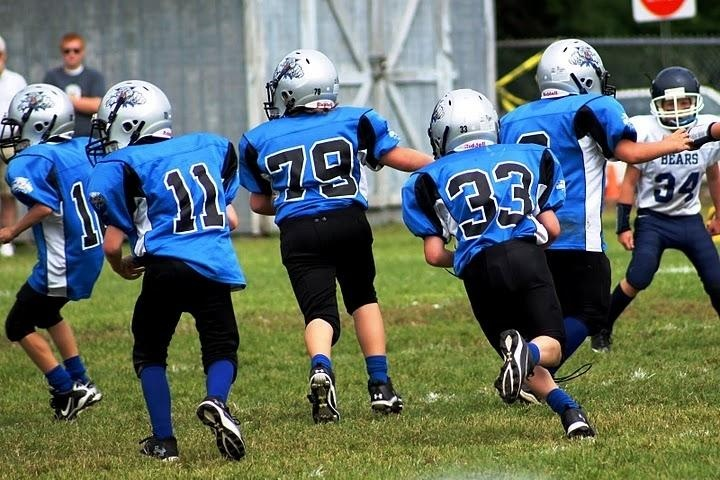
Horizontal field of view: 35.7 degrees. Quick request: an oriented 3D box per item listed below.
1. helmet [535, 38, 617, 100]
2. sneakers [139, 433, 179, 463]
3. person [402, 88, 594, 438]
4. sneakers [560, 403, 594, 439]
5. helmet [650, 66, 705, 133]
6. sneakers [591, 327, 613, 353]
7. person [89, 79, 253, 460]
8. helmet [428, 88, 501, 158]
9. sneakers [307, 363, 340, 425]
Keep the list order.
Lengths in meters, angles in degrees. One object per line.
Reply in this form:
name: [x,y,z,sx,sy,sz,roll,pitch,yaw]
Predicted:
helmet: [1.714,-1.379,8.989,0.580,0.469,0.426,-11,10,-31]
sneakers: [-1.471,1.530,8.203,0.344,0.155,0.118,6,2,28]
person: [1.017,0.166,8.235,1.330,2.451,0.982,1,13,19]
sneakers: [1.582,1.314,8.078,0.245,0.206,0.191,-1,13,12]
helmet: [2.696,-1.177,9.485,0.423,0.458,0.551,-5,18,10]
sneakers: [2.180,0.910,10.037,0.177,0.215,0.529,2,-4,0]
person: [-1.420,0.213,8.318,1.083,2.711,1.093,-3,12,3]
helmet: [0.777,-0.910,8.520,0.428,0.500,0.520,-5,15,-5]
sneakers: [-0.268,1.194,8.689,0.181,0.515,0.251,-5,33,1]
